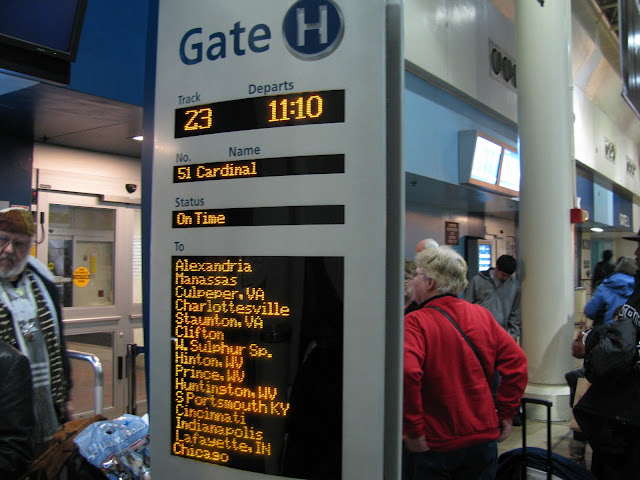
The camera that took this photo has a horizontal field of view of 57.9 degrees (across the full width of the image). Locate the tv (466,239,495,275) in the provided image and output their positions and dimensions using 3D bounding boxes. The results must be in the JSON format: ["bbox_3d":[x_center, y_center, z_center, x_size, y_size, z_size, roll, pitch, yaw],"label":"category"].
[{"bbox_3d":[2.782,0.290,10.090,0.298,1.054,0.548,-2,-1,38],"label":"tv"}]
